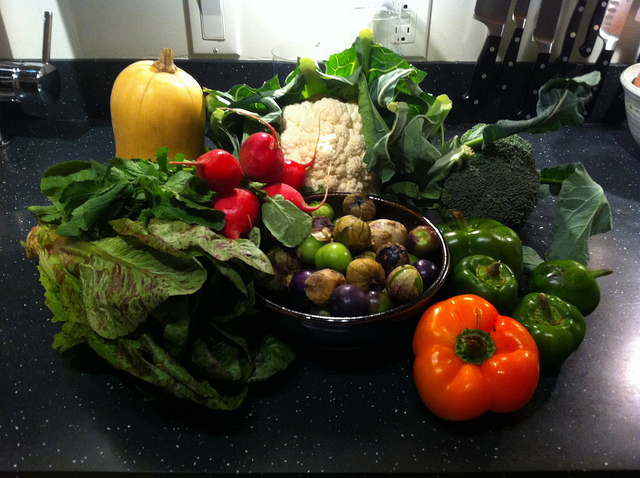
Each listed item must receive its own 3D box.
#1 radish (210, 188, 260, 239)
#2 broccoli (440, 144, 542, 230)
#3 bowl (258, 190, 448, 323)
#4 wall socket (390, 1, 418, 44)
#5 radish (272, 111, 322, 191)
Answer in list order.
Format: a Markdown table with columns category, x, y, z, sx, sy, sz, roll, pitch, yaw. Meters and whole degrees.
| category | x | y | z | sx | sy | sz | roll | pitch | yaw |
| --- | --- | --- | --- | --- | --- | --- | --- | --- | --- |
| radish | -0.153 | -0.048 | 0.870 | 0.096 | 0.063 | 0.081 | -10 | 38 | -19 |
| broccoli | 0.382 | -0.123 | 1.028 | 0.176 | 0.098 | 0.211 | -2 | 54 | 4 |
| bowl | 0.090 | 0.050 | 0.882 | 0.329 | 0.164 | 0.354 | -5 | 31 | 3 |
| wall socket | 0.264 | -0.687 | 1.493 | 0.087 | 0.124 | 0.021 | -6 | 35 | -14 |
| radish | -0.048 | -0.190 | 1.039 | 0.118 | 0.149 | 0.118 | -5 | 30 | -12 |
